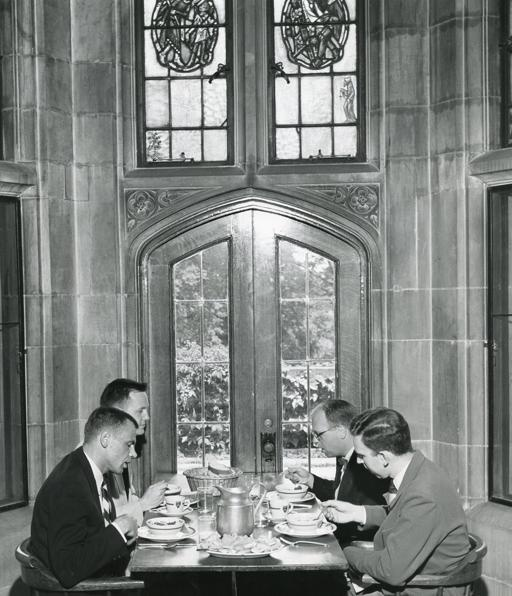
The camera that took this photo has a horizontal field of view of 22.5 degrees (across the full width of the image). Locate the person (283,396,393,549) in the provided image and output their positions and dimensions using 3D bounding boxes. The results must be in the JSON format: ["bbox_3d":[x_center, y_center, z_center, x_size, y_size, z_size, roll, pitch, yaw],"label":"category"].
[{"bbox_3d":[0.417,0.835,6.152,0.507,1.140,0.535,1,-10,5],"label":"person"}]

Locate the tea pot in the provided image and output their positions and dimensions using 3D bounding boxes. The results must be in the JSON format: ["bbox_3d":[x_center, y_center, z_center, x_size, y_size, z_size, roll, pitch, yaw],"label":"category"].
[{"bbox_3d":[-0.070,0.929,5.536,0.232,0.266,0.144,7,-11,-31],"label":"tea pot"}]

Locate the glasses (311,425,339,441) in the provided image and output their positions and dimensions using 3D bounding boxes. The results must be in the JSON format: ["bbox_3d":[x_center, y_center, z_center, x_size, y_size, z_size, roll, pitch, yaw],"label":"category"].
[{"bbox_3d":[0.332,0.655,6.194,0.120,0.044,0.129,-8,-5,-10],"label":"glasses"}]

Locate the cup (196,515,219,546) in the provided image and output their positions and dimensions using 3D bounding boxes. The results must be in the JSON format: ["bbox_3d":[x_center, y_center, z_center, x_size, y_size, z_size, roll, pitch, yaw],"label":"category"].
[{"bbox_3d":[-0.213,1.003,5.549,0.065,0.133,0.075,2,-3,-5],"label":"cup"}]

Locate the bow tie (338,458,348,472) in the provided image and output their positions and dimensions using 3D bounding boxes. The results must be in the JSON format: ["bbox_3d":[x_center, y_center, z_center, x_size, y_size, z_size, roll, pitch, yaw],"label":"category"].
[{"bbox_3d":[0.422,0.824,6.372,0.043,0.071,0.024,4,-1,21],"label":"bow tie"}]

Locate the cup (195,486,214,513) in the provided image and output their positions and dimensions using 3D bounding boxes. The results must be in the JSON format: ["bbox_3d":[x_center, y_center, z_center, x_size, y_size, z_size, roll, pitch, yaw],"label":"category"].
[{"bbox_3d":[-0.228,0.913,5.827,0.084,0.166,0.090,0,3,0],"label":"cup"}]

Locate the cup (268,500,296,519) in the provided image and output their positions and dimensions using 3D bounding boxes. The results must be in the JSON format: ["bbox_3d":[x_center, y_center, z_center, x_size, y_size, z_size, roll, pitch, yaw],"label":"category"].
[{"bbox_3d":[0.098,0.943,5.703,0.080,0.067,0.061,0,-5,-2],"label":"cup"}]

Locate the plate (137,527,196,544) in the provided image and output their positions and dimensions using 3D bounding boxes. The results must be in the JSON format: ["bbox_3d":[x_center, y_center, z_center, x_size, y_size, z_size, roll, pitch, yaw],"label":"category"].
[{"bbox_3d":[-0.383,1.010,5.468,0.242,0.039,0.176,-1,0,-2],"label":"plate"}]

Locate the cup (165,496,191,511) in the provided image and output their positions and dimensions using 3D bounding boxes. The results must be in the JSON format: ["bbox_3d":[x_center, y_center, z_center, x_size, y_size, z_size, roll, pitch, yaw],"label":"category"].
[{"bbox_3d":[-0.354,0.936,5.834,0.069,0.057,0.065,3,-9,0],"label":"cup"}]
